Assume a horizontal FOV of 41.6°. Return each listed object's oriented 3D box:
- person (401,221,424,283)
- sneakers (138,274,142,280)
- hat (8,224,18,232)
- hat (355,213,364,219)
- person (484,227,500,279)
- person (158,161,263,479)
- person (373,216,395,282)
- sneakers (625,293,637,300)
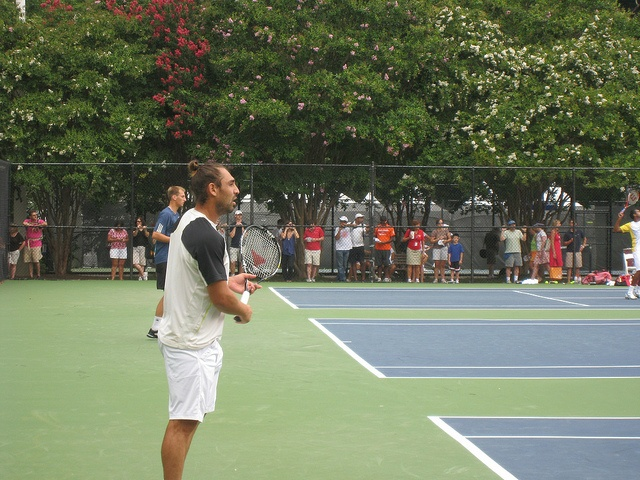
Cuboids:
[{"bbox_3d":[2.819,0.397,25.200,0.602,1.953,1.270,1,10,6],"label":"person"},{"bbox_3d":[-5.373,1.116,25.191,0.102,0.141,0.152,0,-32,-3],"label":"sneakers"},{"bbox_3d":[-8.702,-0.362,23.941,0.233,0.343,0.318,-2,-8,-4],"label":"hat"},{"bbox_3d":[1.110,-0.722,24.734,0.252,0.141,0.187,-5,-1,23],"label":"hat"},{"bbox_3d":[5.860,0.443,28.674,0.510,1.764,1.411,2,10,11],"label":"person"},{"bbox_3d":[-1.336,0.897,9.536,1.001,3.477,0.682,-2,10,-15],"label":"person"},{"bbox_3d":[1.903,0.327,24.878,0.564,2.054,1.144,1,10,5],"label":"person"},{"bbox_3d":[7.622,1.371,20.545,0.307,0.228,0.118,0,2,8],"label":"sneakers"}]
